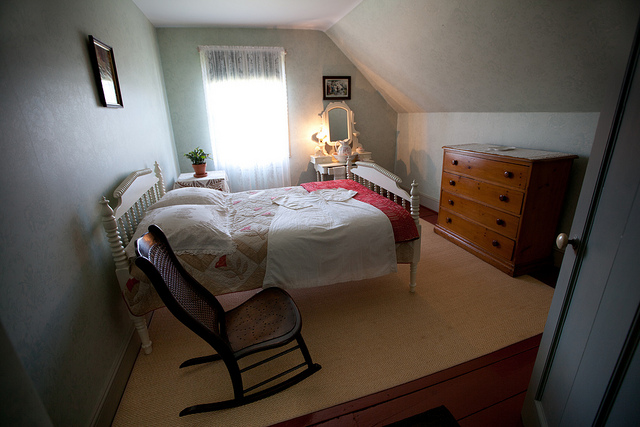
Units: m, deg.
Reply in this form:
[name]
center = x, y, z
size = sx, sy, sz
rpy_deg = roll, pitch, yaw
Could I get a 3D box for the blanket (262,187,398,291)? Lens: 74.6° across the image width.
[blanket]
center = 0.001, 0.142, 3.912
size = 0.947, 0.532, 0.943
rpy_deg = -6, 23, -8

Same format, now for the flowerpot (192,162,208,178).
[flowerpot]
center = -1.551, -0.562, 5.402
size = 0.193, 0.149, 0.191
rpy_deg = -11, 20, -29

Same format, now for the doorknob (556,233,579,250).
[doorknob]
center = 1.500, 0.175, 2.592
size = 0.116, 0.146, 0.109
rpy_deg = 0, -5, 8

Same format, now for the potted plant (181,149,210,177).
[potted plant]
center = -1.580, -0.678, 5.476
size = 0.315, 0.380, 0.363
rpy_deg = -4, 13, 8

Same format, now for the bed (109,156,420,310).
[bed]
center = -0.468, 0.041, 3.860
size = 1.999, 0.975, 1.631
rpy_deg = -10, 33, -11

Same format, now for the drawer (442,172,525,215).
[drawer]
center = 1.687, -0.216, 4.353
size = 0.456, 0.371, 0.961
rpy_deg = 0, 12, -9

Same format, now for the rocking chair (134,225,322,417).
[rocking chair]
center = -0.658, 0.716, 3.111
size = 1.103, 1.342, 0.679
rpy_deg = -12, 17, -18
